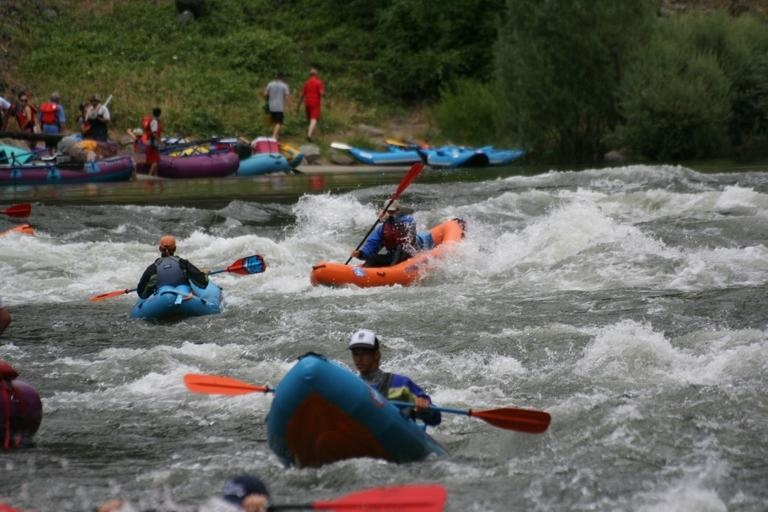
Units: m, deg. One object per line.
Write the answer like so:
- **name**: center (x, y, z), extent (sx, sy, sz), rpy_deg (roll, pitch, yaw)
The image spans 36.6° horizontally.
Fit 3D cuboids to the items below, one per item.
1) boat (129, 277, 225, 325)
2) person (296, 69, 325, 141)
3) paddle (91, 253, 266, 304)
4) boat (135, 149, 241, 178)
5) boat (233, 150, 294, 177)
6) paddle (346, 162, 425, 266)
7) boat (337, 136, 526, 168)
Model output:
- **boat**: center (-3.839, 0.841, 21.661), extent (1.609, 0.624, 0.445), rpy_deg (-1, 9, -15)
- **person**: center (-2.096, -4.497, 34.678), extent (0.786, 1.966, 0.907), rpy_deg (-7, 17, -27)
- **paddle**: center (-3.894, 0.494, 22.130), extent (3.517, 0.359, 0.568), rpy_deg (-14, 6, -31)
- **boat**: center (-5.059, -2.339, 31.778), extent (1.862, 0.578, 1.079), rpy_deg (-2, -1, -16)
- **boat**: center (-3.412, -2.553, 32.588), extent (1.603, 0.601, 0.406), rpy_deg (-5, 11, -38)
- **paddle**: center (0.049, -0.981, 24.808), extent (0.343, 4.657, 0.414), rpy_deg (-2, 54, -32)
- **boat**: center (1.521, -3.129, 36.598), extent (4.978, 0.631, 2.670), rpy_deg (4, 9, 21)
